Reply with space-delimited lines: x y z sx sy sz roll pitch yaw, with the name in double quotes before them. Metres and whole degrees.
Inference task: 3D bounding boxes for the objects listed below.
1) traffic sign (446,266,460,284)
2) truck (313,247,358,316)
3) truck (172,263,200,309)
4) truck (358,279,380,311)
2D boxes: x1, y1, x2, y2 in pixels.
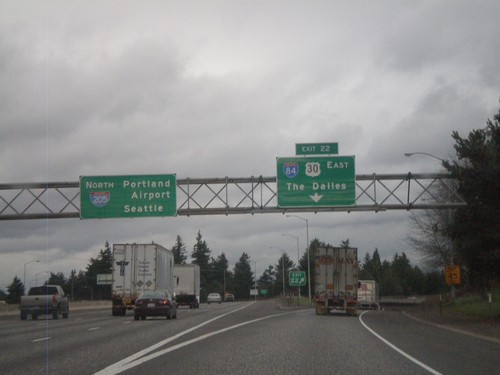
"traffic sign" 14.140 6.098 49.958 0.883 1.370 0.163 -2 -2 9
"truck" 6.308 7.426 55.320 3.782 6.203 8.707 0 -13 4
"truck" -6.151 9.749 70.668 3.070 5.946 4.231 1 -7 -5
"truck" 12.027 10.948 72.587 1.829 2.749 3.962 -1 -11 7
